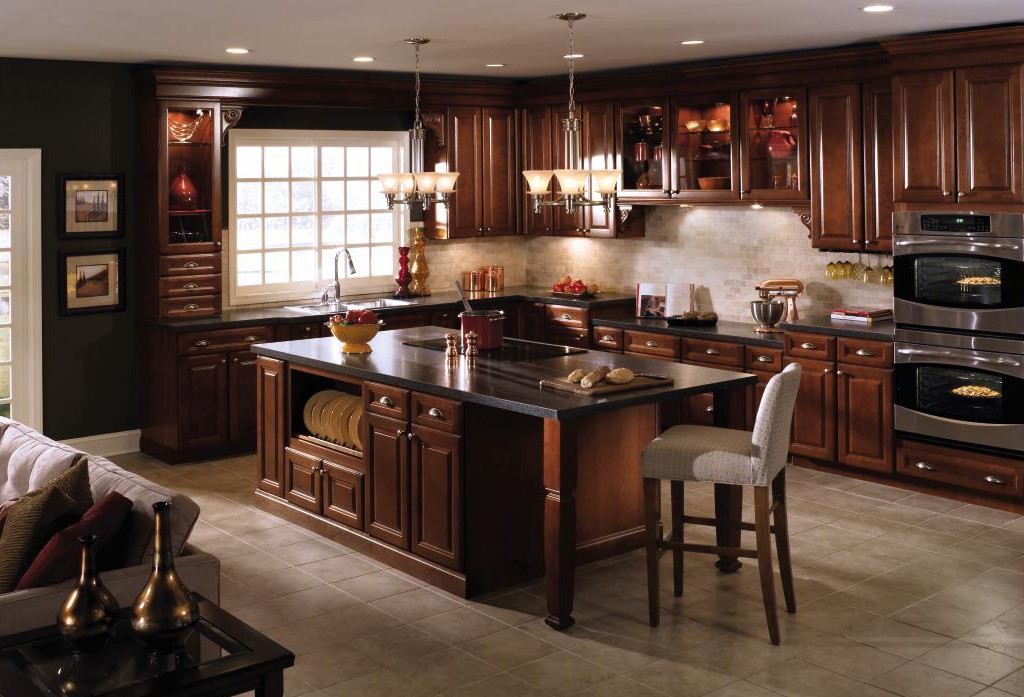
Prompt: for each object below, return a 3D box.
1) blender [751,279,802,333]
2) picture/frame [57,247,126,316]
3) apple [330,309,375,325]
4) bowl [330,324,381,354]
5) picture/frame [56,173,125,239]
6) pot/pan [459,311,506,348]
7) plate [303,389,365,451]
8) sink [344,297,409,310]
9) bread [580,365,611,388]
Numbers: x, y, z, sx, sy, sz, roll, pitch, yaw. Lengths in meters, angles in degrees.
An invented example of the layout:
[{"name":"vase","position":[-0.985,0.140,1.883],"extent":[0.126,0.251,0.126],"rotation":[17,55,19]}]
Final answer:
[{"name":"blender","position":[2.287,-0.395,6.961],"extent":[0.505,0.401,0.258],"rotation":[-6,7,-10]},{"name":"picture/frame","position":[-3.613,-0.596,6.820],"extent":[0.710,0.588,0.054],"rotation":[-2,5,-32]},{"name":"apple","position":[-1.142,-0.230,5.762],"extent":[0.201,0.076,0.225],"rotation":[0,1,34]},{"name":"bowl","position":[-1.076,-0.041,5.504],"extent":[0.305,0.135,0.236],"rotation":[-1,-1,-4]},{"name":"picture/frame","position":[-3.592,-1.221,6.767],"extent":[0.680,0.619,0.051],"rotation":[-3,5,-34]},{"name":"pot/pan","position":[-0.224,-0.126,5.447],"extent":[0.239,0.255,0.466],"rotation":[4,12,22]},{"name":"plate","position":[-1.198,0.494,5.447],"extent":[0.443,0.343,0.249],"rotation":[14,-19,-43]},{"name":"sink","position":[-1.307,-0.437,7.752],"extent":[0.260,0.078,0.200],"rotation":[-7,14,-29]},{"name":"bread","position":[0.448,0.148,4.401],"extent":[0.155,0.098,0.208],"rotation":[2,11,14]}]
